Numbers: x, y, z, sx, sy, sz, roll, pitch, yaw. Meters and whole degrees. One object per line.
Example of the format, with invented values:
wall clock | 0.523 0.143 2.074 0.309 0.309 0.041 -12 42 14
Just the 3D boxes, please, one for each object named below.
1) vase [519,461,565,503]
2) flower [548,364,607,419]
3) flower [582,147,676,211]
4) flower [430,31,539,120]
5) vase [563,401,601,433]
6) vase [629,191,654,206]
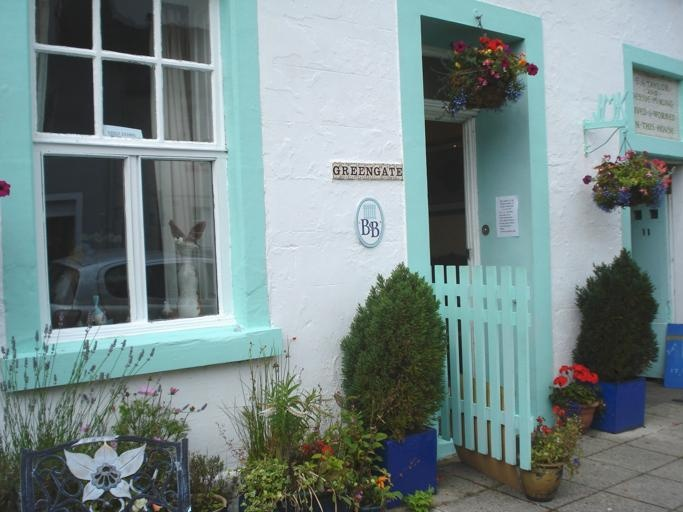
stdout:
vase | 1.559 1.739 5.414 0.294 0.247 0.298 1 -2 -30
flower | 2.300 1.283 6.740 0.462 0.535 0.439 4 4 18
flower | 2.918 -0.755 7.081 0.760 0.709 0.767 -3 12 -10
flower | 1.345 -1.526 6.455 0.712 0.871 0.784 4 -22 -13
vase | 2.345 1.493 6.680 0.364 0.302 0.381 -3 2 35
vase | 2.991 -0.571 6.892 0.177 0.119 0.173 -3 -5 44
